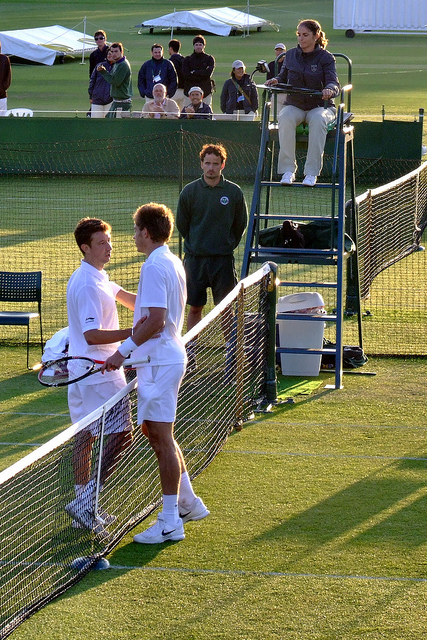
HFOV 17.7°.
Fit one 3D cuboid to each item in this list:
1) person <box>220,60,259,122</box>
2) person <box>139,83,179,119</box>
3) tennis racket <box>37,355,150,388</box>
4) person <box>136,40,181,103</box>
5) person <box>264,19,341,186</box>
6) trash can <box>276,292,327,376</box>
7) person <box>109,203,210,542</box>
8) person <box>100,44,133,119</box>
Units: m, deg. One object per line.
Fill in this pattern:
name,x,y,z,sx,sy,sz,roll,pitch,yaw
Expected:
person,0.434,-3.776,22.349,0.603,0.995,1.410,1,14,0
person,-0.858,-3.503,22.225,0.551,0.884,0.510,-1,-8,0
tennis racket,-0.854,0.299,8.709,0.718,0.066,0.298,-9,37,40
person,-0.859,-3.994,22.172,0.594,0.968,0.935,-3,15,-14
person,0.786,-1.848,11.779,0.606,1.430,0.764,2,14,5
trash can,0.833,0.053,11.935,0.329,0.436,0.330,7,3,-26
person,-0.327,0.373,8.604,0.566,2.134,0.541,0,13,0
person,-1.550,-3.815,21.885,0.490,1.302,1.721,-1,14,-4
